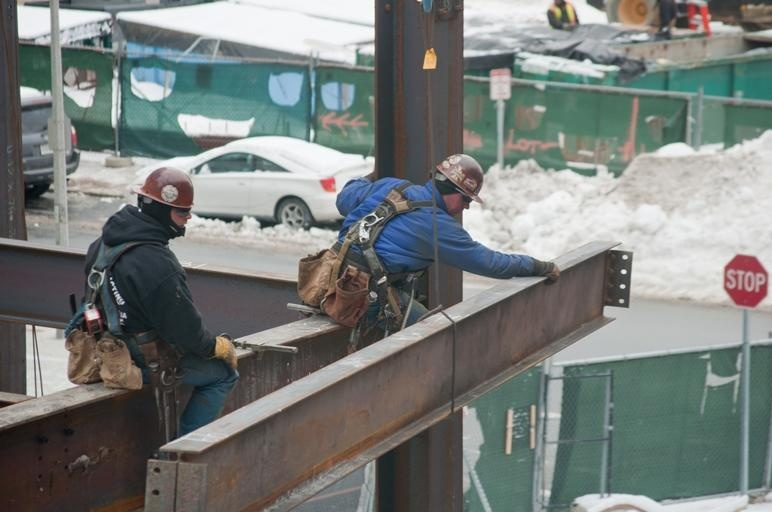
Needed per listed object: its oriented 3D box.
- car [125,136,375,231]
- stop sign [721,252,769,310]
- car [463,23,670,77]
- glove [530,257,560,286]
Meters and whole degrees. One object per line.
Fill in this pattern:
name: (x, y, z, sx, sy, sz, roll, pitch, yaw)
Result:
car: (-2.749, -1.685, 35.822, 4.665, 1.500, 2.139, 5, 11, 21)
stop sign: (6.344, 0.465, 28.829, 1.104, 1.217, 0.172, 5, 8, 35)
car: (3.663, -4.565, 36.735, 1.752, 1.173, 5.068, -6, 9, -36)
glove: (2.416, 0.208, 24.527, 0.304, 0.202, 0.399, 7, -14, 16)
